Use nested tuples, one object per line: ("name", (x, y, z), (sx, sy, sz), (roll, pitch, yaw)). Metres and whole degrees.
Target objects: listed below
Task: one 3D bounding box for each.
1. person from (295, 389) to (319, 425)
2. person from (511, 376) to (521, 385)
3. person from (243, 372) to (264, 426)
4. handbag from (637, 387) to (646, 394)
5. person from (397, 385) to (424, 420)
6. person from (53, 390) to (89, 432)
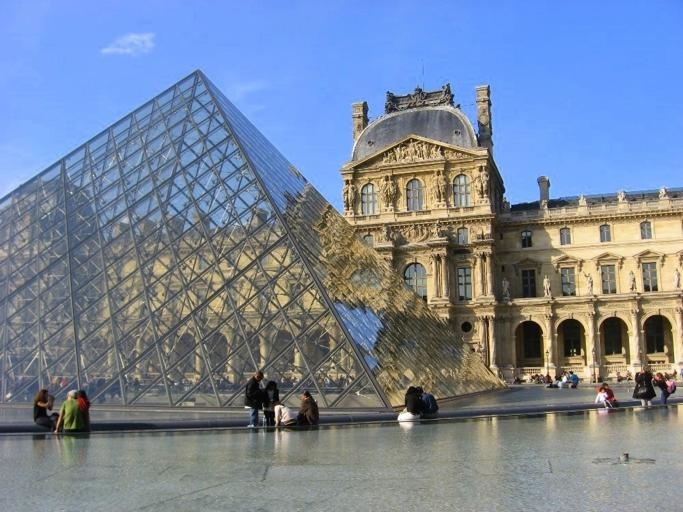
("person", (-0.768, 3.577, 23.474), (0.530, 0.832, 0.530), (-1, -12, -3))
("person", (10.098, 7.161, 57.547), (0.452, 0.423, 1.248), (-6, -10, 8))
("person", (-2.004, 3.362, 23.458), (0.391, 1.363, 0.863), (0, -12, -5))
("handbag", (8.291, 3.704, 27.581), (0.190, 0.188, 0.052), (-5, -9, 39))
("person", (1.771, 3.602, 24.390), (0.782, 0.812, 0.446), (10, -16, -43))
("person", (-6.008, 3.492, 22.485), (0.699, 0.944, 0.674), (0, -12, -6))
